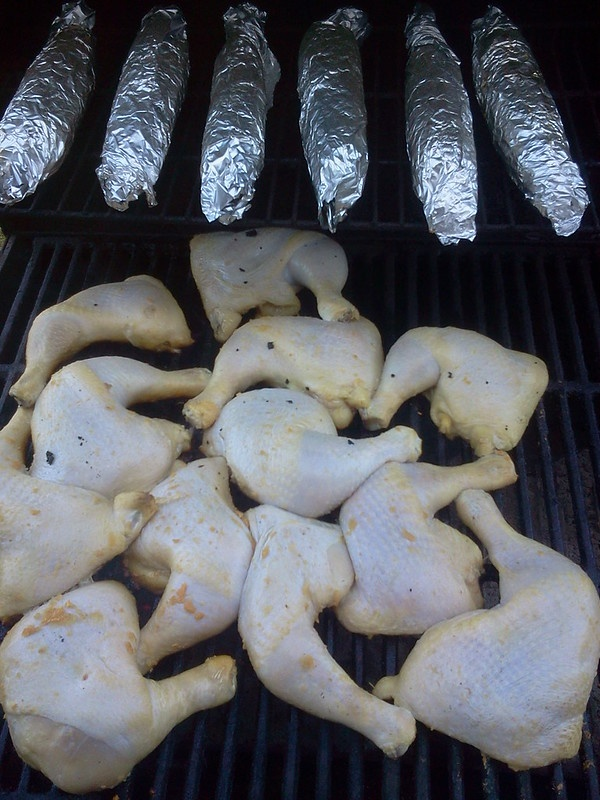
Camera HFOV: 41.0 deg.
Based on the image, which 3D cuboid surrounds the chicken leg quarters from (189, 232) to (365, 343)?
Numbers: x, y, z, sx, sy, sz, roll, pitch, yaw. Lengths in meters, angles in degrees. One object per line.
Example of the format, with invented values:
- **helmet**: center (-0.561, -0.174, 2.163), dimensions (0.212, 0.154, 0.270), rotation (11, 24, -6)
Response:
- **chicken leg quarters**: center (-0.077, -0.385, 2.531), dimensions (0.635, 0.162, 0.358), rotation (11, 83, 28)

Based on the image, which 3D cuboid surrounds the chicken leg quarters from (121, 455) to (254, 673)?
- **chicken leg quarters**: center (-0.293, 0.408, 2.147), dimensions (0.387, 0.181, 0.567), rotation (7, 58, 12)
